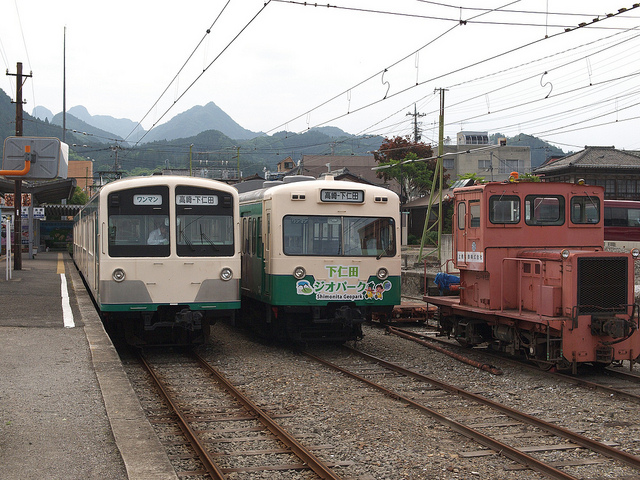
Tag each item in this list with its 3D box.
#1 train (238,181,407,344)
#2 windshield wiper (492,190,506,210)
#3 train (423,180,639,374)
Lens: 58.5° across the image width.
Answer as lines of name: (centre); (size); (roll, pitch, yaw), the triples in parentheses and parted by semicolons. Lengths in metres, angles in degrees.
train: (-1.240, 0.584, 17.381); (3.021, 3.755, 9.965); (1, -2, -20)
windshield wiper: (3.683, -0.856, 11.920); (0.044, 0.431, 0.036); (18, 17, -47)
train: (4.579, 0.610, 11.830); (2.219, 3.677, 3.410); (0, 1, -21)
